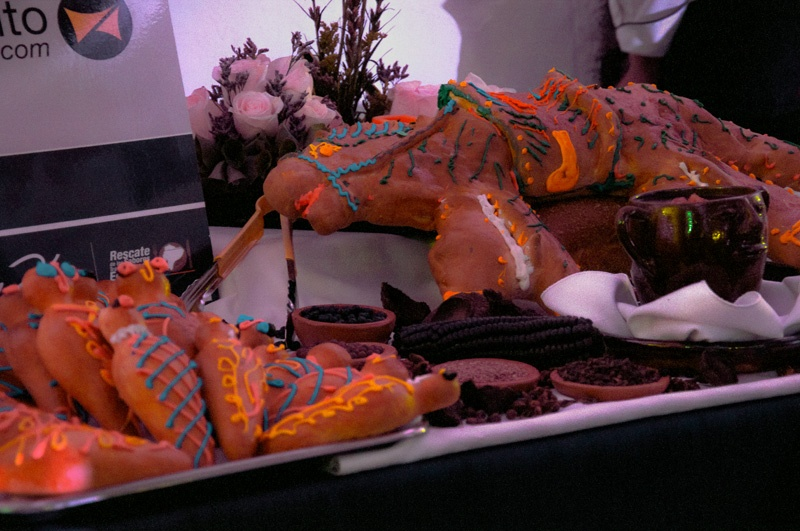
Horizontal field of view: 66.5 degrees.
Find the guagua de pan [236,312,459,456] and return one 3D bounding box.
[{"bbox_3d":[-0.042,0.124,0.611,0.196,0.071,0.109,-6,20,-8],"label":"guagua de pan"}]
